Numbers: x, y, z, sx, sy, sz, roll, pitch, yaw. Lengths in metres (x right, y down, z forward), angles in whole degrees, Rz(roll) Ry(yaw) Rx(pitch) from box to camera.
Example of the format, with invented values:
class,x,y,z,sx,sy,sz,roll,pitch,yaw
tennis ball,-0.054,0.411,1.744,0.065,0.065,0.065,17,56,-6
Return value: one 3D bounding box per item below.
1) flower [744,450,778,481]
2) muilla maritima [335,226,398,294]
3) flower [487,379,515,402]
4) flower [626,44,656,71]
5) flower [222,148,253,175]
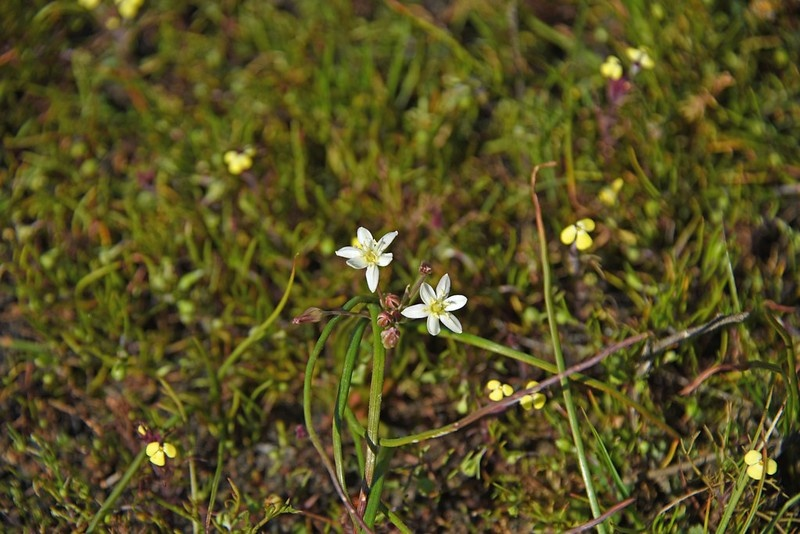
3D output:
class,x,y,z,sx,sy,sz,roll,pitch,yaw
flower,1.610,0.886,3.694,0.146,0.135,0.064,-66,14,-16
muilla maritima,-0.124,-0.023,3.686,0.231,0.257,0.267,-41,42,-20
flower,0.455,0.580,3.814,0.111,0.047,0.112,29,78,13
flower,1.188,-1.036,4.105,0.126,0.114,0.089,-6,42,22
flower,-0.780,-0.517,3.991,0.119,0.130,0.053,-33,2,-14
